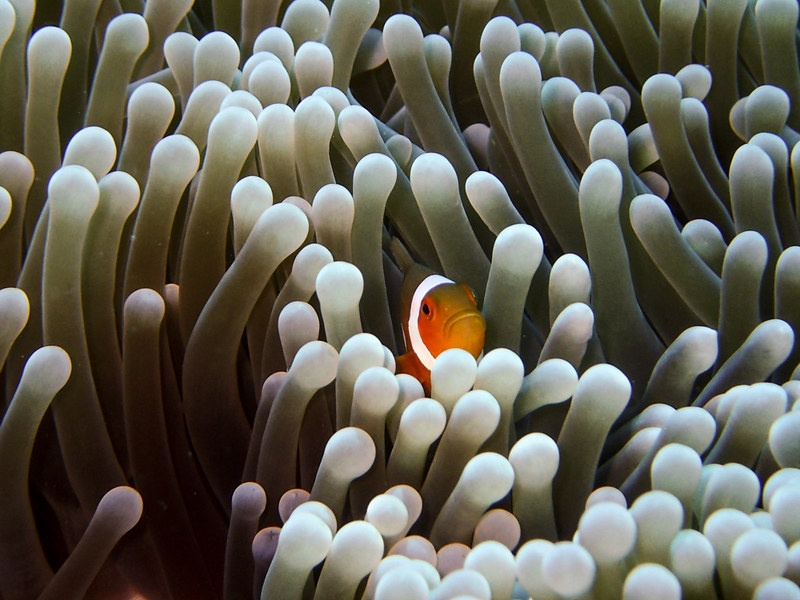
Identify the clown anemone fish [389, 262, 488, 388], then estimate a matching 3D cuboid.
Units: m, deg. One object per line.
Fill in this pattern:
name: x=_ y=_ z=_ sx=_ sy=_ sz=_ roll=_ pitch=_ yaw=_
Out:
clown anemone fish: x=0.062 y=0.066 z=1.677 sx=0.082 sy=0.218 sz=0.209 roll=-5 pitch=14 yaw=-44
